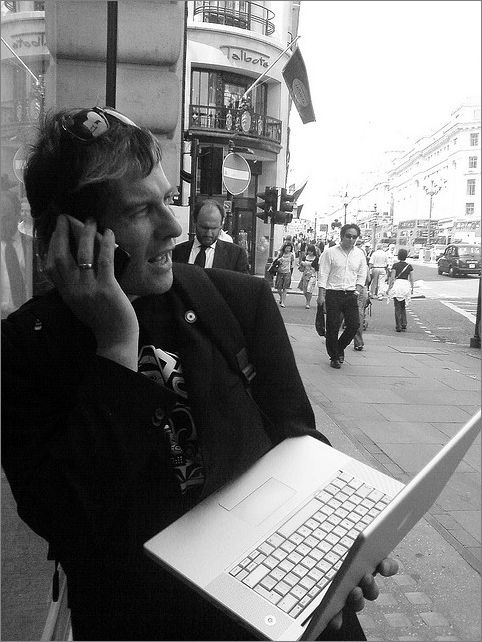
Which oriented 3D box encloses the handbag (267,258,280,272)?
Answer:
[{"bbox_3d":[0.938,-1.561,16.232,0.156,0.480,0.330,18,8,-7],"label":"handbag"}]
